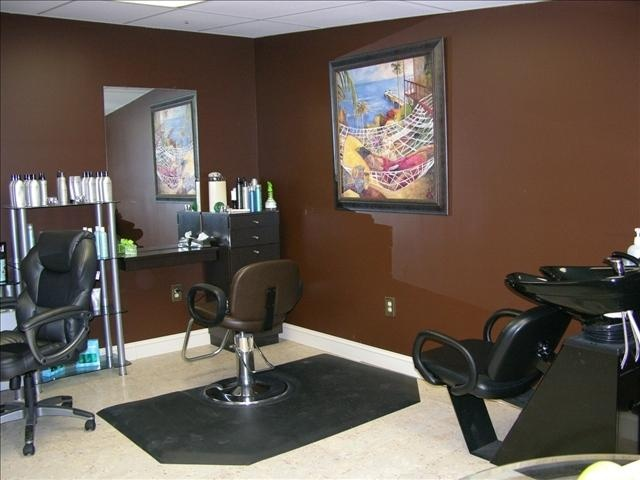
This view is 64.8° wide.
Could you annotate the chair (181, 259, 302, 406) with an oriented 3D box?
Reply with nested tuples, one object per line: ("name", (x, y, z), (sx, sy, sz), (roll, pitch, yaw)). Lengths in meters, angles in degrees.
("chair", (-0.618, 0.653, 3.869), (0.819, 0.998, 0.784), (0, 2, 35))

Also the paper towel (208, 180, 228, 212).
("paper towel", (-0.947, -0.406, 4.689), (0.157, 0.289, 0.166), (-4, 10, -15))

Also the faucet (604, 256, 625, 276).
("faucet", (1.474, 0.131, 2.503), (0.087, 0.092, 0.108), (-6, 6, -16))

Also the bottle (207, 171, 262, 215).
("bottle", (-0.820, -0.425, 4.737), (0.465, 0.357, 0.155), (0, 7, -7))

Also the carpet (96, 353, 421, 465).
("carpet", (-0.343, 1.171, 3.635), (2.007, 0.027, 1.378), (-8, 11, -39))

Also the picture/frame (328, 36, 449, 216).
("picture/frame", (0.526, -0.847, 3.987), (1.119, 1.268, 0.057), (8, 13, 43))

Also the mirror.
("mirror", (-1.468, -0.644, 4.543), (0.839, 1.403, 0.174), (-9, 12, -40))

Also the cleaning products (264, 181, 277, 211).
("cleaning products", (-0.471, -0.427, 4.889), (0.109, 0.266, 0.319), (-2, 9, -5))

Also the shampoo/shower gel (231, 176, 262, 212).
("shampoo/shower gel", (-0.687, -0.402, 4.710), (0.327, 0.348, 0.273), (8, 9, 44))

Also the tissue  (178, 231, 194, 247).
("tissue ", (-1.229, 0.005, 4.627), (0.119, 0.147, 0.056), (-1, -15, 21))
